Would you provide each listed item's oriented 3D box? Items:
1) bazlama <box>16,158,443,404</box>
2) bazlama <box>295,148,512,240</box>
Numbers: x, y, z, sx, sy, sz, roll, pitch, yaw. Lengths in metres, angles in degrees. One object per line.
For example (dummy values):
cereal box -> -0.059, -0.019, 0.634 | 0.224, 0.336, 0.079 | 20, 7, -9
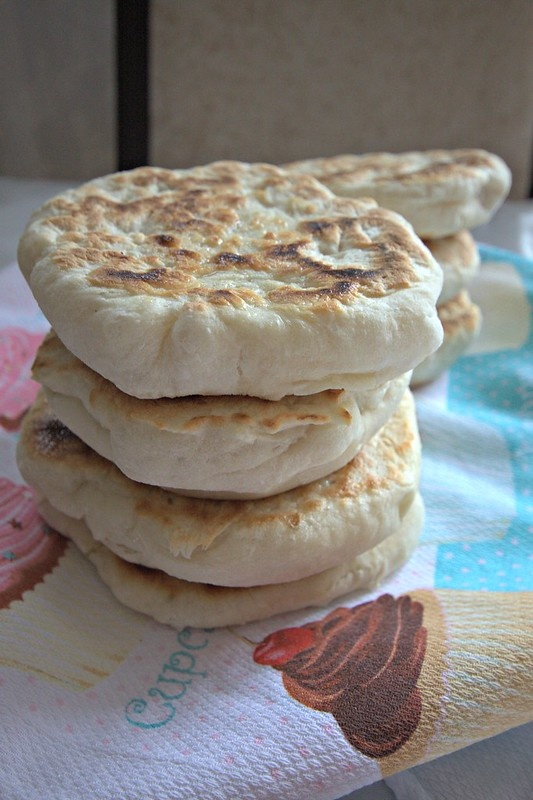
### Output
bazlama -> -0.035, -0.089, 0.742 | 0.309, 0.076, 0.272 | -3, 30, -11
bazlama -> 0.184, -0.287, 1.199 | 0.225, 0.062, 0.205 | 4, 23, 16
